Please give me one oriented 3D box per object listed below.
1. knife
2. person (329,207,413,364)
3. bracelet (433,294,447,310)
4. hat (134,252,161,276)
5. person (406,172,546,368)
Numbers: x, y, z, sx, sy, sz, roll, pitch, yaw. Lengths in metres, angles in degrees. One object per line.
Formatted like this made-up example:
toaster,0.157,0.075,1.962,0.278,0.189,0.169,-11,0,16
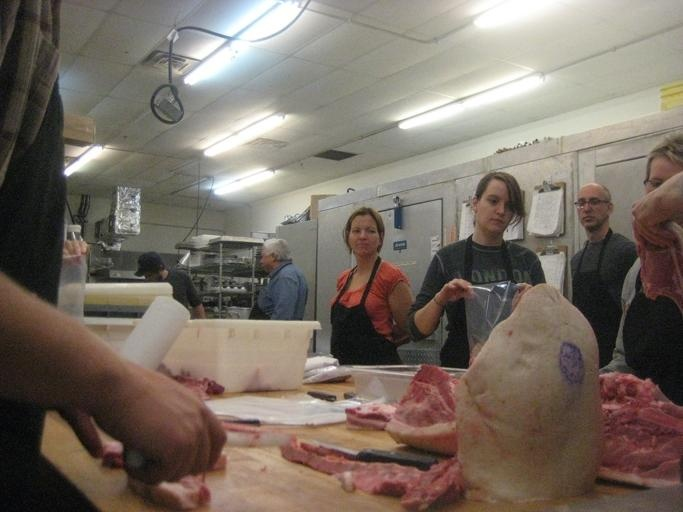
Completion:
knife,0.069,0.425,1.111,0.243,0.042,0.020,8,39,17
person,0.186,0.154,2.994,0.550,0.899,0.444,2,-2,21
bracelet,0.467,0.212,2.414,0.049,0.026,0.065,13,-21,0
hat,-2.379,0.100,6.425,0.319,0.217,0.428,-23,16,-32
person,0.611,0.062,2.634,0.760,1.023,0.538,4,-2,-43
